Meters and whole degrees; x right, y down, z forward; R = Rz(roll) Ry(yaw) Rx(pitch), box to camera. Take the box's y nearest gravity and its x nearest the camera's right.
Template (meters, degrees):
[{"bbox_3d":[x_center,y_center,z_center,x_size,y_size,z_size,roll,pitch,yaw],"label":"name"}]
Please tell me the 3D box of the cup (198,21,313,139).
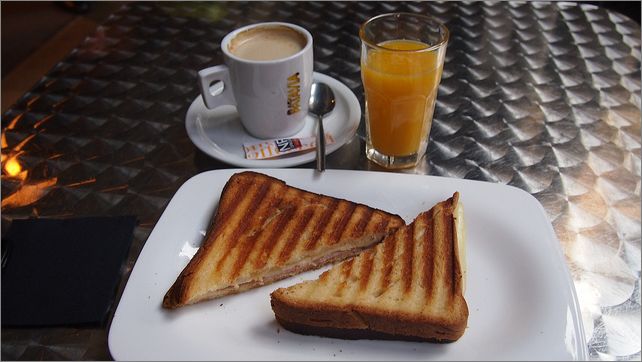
[{"bbox_3d":[-0.263,-0.394,2.078,0.468,0.370,0.352,-20,45,-22],"label":"cup"}]
